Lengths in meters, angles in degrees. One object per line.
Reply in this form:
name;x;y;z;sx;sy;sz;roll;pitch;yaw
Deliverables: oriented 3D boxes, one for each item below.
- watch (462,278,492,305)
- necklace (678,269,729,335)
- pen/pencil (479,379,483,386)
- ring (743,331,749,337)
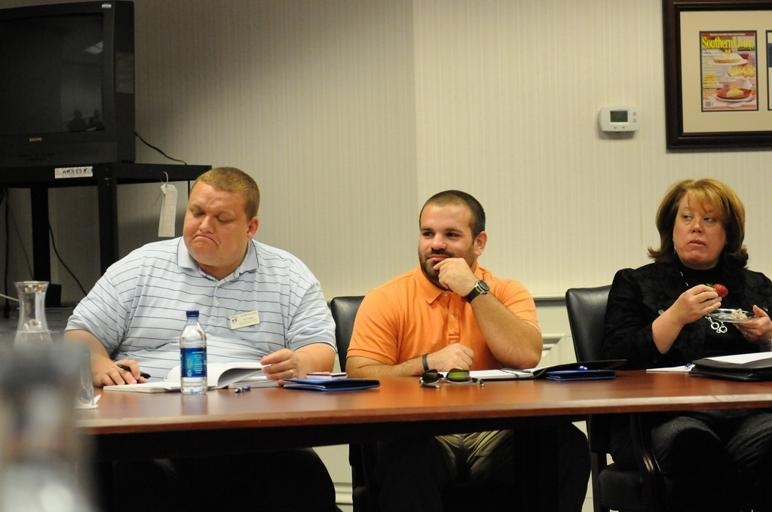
watch;0.357;0.130;2.657;0.099;0.065;0.108;-40;-3;22
necklace;1.330;0.182;2.787;0.195;0.250;0.104;-4;-2;-10
pen/pencil;0.314;0.413;2.241;0.013;0.017;0.044;-1;-1;4
ring;1.402;0.300;2.638;0.017;0.005;0.016;12;-20;4
